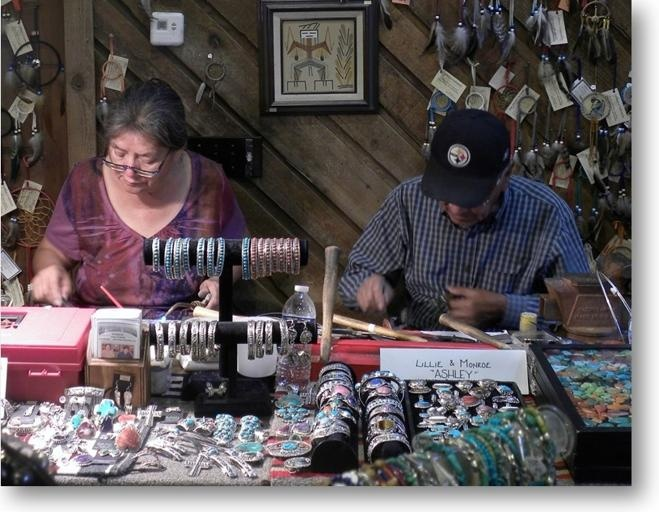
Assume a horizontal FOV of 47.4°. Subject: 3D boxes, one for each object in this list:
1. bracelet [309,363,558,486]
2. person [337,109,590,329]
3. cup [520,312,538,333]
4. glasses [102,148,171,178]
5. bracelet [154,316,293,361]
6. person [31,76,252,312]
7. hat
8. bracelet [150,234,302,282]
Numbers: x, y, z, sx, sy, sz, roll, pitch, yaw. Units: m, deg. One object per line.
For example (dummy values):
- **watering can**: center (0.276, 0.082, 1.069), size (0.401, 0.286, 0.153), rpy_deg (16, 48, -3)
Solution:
- **bracelet**: center (0.281, 0.467, 1.800), size (0.552, 0.191, 0.090), rpy_deg (0, 0, -13)
- **person**: center (0.591, -0.163, 3.127), size (0.575, 0.488, 0.807), rpy_deg (16, -36, 21)
- **cup**: center (0.675, 0.225, 2.542), size (0.057, 0.099, 0.058), rpy_deg (1, -4, 0)
- **glasses**: center (-0.836, -0.388, 3.245), size (0.292, 0.098, 0.054), rpy_deg (1, 0, 13)
- **bracelet**: center (-0.322, 0.248, 2.226), size (0.412, 0.119, 0.068), rpy_deg (0, 0, -2)
- **person**: center (-0.847, -0.263, 3.311), size (0.899, 0.970, 0.361), rpy_deg (0, 0, 4)
- **hat**: center (0.496, -0.345, 2.761), size (0.247, 0.397, 0.198), rpy_deg (21, -23, 16)
- **bracelet**: center (-0.307, 0.005, 2.247), size (0.479, 0.120, 0.088), rpy_deg (0, 0, -3)
